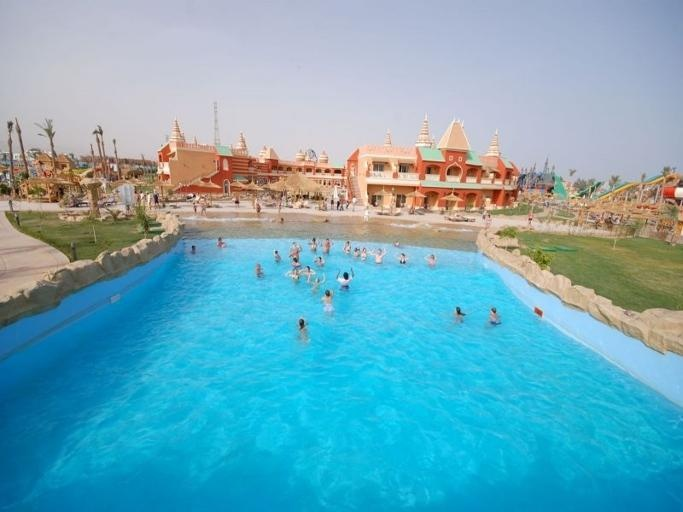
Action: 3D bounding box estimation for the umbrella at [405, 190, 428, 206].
[{"bbox_3d":[9.059,-6.956,42.516,2.507,2.165,2.450,-2,9,-15],"label":"umbrella"}]

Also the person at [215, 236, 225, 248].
[{"bbox_3d":[-7.369,-0.831,21.832,0.343,1.021,0.455,1,23,15],"label":"person"}]

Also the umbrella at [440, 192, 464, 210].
[{"bbox_3d":[13.037,-6.709,41.933,2.341,2.186,2.430,-4,30,-5],"label":"umbrella"}]

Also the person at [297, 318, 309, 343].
[{"bbox_3d":[-1.321,2.671,12.140,0.280,0.930,0.263,0,20,7],"label":"person"}]

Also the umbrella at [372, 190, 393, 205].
[{"bbox_3d":[4.990,-7.308,43.804,2.223,1.847,2.181,-1,7,-3],"label":"umbrella"}]

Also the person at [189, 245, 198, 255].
[{"bbox_3d":[-8.372,-0.323,20.424,0.464,0.809,0.249,5,9,5],"label":"person"}]
